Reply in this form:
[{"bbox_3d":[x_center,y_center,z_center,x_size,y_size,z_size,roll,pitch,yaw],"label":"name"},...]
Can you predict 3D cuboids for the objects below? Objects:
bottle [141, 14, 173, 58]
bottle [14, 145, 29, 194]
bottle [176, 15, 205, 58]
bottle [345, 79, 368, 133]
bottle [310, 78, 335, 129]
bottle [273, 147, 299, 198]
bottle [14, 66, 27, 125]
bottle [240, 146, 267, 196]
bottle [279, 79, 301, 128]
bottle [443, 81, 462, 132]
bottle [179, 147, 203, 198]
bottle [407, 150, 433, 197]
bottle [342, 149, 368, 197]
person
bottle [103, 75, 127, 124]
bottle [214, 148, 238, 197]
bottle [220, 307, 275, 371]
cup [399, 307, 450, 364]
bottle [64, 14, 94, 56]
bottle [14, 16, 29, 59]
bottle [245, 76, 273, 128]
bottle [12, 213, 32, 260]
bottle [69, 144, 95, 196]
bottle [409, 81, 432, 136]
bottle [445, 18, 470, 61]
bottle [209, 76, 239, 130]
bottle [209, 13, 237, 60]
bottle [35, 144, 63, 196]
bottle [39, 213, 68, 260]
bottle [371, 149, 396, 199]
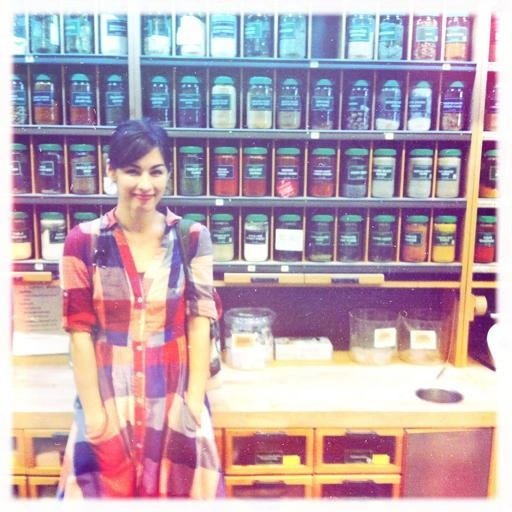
[{"bbox_3d":[-0.425,-0.931,2.615,0.109,0.182,0.107,-2,0,0],"label":"bottle"},{"bbox_3d":[-1.030,-0.384,2.678,0.051,0.208,0.111,3,10,12],"label":"bottle"},{"bbox_3d":[-0.274,-0.915,2.599,0.125,0.165,0.155,-2,1,26],"label":"bottle"},{"bbox_3d":[0.449,-0.668,2.699,0.116,0.210,0.085,2,10,8],"label":"bottle"},{"bbox_3d":[0.300,-0.660,2.704,0.122,0.226,0.119,1,4,0],"label":"bottle"},{"bbox_3d":[0.141,-0.379,2.740,0.119,0.217,0.196,1,10,2],"label":"bottle"},{"bbox_3d":[-1.033,-0.701,2.653,0.049,0.247,0.111,-1,10,-10],"label":"bottle"},{"bbox_3d":[-0.007,-0.383,2.737,0.115,0.217,0.226,1,10,1],"label":"bottle"},{"bbox_3d":[0.146,-0.657,2.643,0.091,0.207,0.048,0,10,-8],"label":"bottle"},{"bbox_3d":[0.874,-0.656,2.698,0.092,0.248,0.032,3,-15,17],"label":"bottle"},{"bbox_3d":[-0.283,-0.378,2.695,0.110,0.206,0.118,1,13,0],"label":"bottle"},{"bbox_3d":[0.746,-0.368,2.762,0.162,0.219,0.174,3,4,0],"label":"bottle"},{"bbox_3d":[0.443,-0.372,2.744,0.111,0.215,0.124,4,10,16],"label":"bottle"},{"bbox_3d":[-0.381,0.396,2.051,0.529,1.653,0.394,-4,25,-20],"label":"person"},{"bbox_3d":[-0.612,-0.682,2.643,0.081,0.222,0.080,1,10,0],"label":"bottle"},{"bbox_3d":[-0.134,-0.374,2.707,0.111,0.214,0.115,0,7,0],"label":"bottle"},{"bbox_3d":[-0.046,0.372,2.880,0.225,0.259,0.241,3,7,21],"label":"bottle"},{"bbox_3d":[0.829,0.414,2.952,0.212,0.245,0.234,0,-5,10],"label":"cup"},{"bbox_3d":[-0.761,-0.956,2.617,0.103,0.171,0.139,15,21,28],"label":"bottle"},{"bbox_3d":[-0.982,-0.913,2.531,0.058,0.158,0.074,-3,11,-23],"label":"bottle"},{"bbox_3d":[0.013,-0.673,2.667,0.119,0.230,0.184,1,10,-1],"label":"bottle"},{"bbox_3d":[-1.036,-0.095,2.712,0.058,0.210,0.156,1,10,0],"label":"bottle"},{"bbox_3d":[-0.762,-0.387,2.684,0.118,0.216,0.122,1,9,0],"label":"bottle"},{"bbox_3d":[0.730,-0.665,2.698,0.114,0.218,0.099,1,10,-1],"label":"bottle"},{"bbox_3d":[0.893,-0.947,2.664,0.159,0.188,0.066,-6,12,-36],"label":"bottle"},{"bbox_3d":[-0.143,-0.683,2.662,0.116,0.219,0.125,1,46,-1],"label":"bottle"},{"bbox_3d":[-0.143,-0.926,2.603,0.117,0.211,0.112,0,-5,0],"label":"bottle"},{"bbox_3d":[-0.929,-0.372,2.708,0.115,0.215,0.113,0,4,0],"label":"bottle"},{"bbox_3d":[-0.905,-0.074,2.720,0.133,0.221,0.139,-6,-9,-1],"label":"bottle"},{"bbox_3d":[0.572,-0.360,2.758,0.113,0.229,0.122,2,-2,0],"label":"bottle"}]
